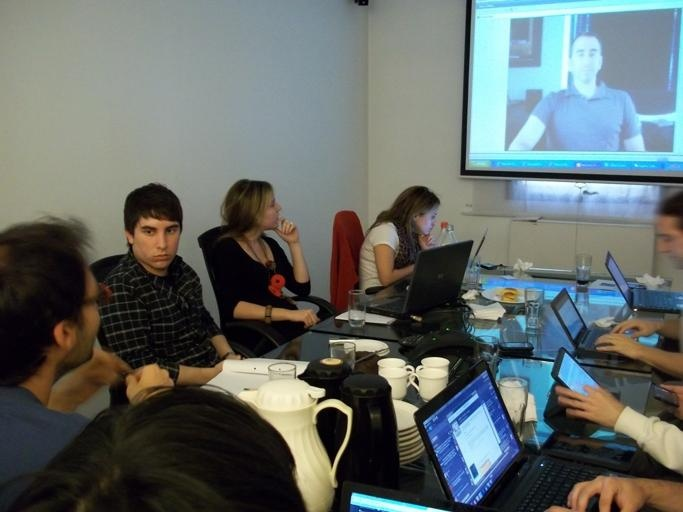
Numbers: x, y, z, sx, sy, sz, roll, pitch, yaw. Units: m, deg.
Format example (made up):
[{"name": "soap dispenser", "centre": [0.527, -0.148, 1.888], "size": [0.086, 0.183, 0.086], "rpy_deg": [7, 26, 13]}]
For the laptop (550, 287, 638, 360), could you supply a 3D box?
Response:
[{"name": "laptop", "centre": [0.990, 0.286, 2.084], "size": [0.248, 0.188, 0.292], "rpy_deg": [6, 14, 20]}]

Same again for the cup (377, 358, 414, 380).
[{"name": "cup", "centre": [0.163, 0.350, 1.642], "size": [0.074, 0.058, 0.062], "rpy_deg": [2, 9, 16]}]

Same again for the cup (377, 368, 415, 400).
[{"name": "cup", "centre": [0.167, 0.370, 1.563], "size": [0.130, 0.104, 0.108], "rpy_deg": [0, 2, -10]}]

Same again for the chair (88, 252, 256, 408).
[{"name": "chair", "centre": [-0.750, 0.244, 2.281], "size": [0.520, 0.854, 0.630], "rpy_deg": [-2, 9, 17]}]

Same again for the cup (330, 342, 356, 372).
[{"name": "cup", "centre": [0.008, 0.330, 1.738], "size": [0.096, 0.119, 0.100], "rpy_deg": [2, 0, 0]}]

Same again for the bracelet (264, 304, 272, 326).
[{"name": "bracelet", "centre": [-0.380, 0.311, 2.678], "size": [0.031, 0.077, 0.077], "rpy_deg": [1, 25, 2]}]

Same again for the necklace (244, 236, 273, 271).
[{"name": "necklace", "centre": [-0.467, -0.029, 2.914], "size": [0.057, 0.189, 0.143], "rpy_deg": [-37, -24, 25]}]

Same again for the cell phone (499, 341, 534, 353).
[{"name": "cell phone", "centre": [0.665, 0.353, 1.975], "size": [0.065, 0.017, 0.068], "rpy_deg": [2, 6, 7]}]

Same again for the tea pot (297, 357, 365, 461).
[{"name": "tea pot", "centre": [-0.029, 0.343, 1.198], "size": [0.181, 0.236, 0.114], "rpy_deg": [7, 10, 39]}]

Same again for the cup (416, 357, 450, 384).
[{"name": "cup", "centre": [0.288, 0.363, 1.635], "size": [0.075, 0.059, 0.059], "rpy_deg": [-1, 3, -43]}]

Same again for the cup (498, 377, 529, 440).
[{"name": "cup", "centre": [0.449, 0.406, 1.357], "size": [0.082, 0.166, 0.120], "rpy_deg": [-6, 5, 7]}]

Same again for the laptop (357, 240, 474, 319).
[{"name": "laptop", "centre": [0.311, 0.102, 2.468], "size": [0.359, 0.307, 0.469], "rpy_deg": [10, 18, 38]}]
